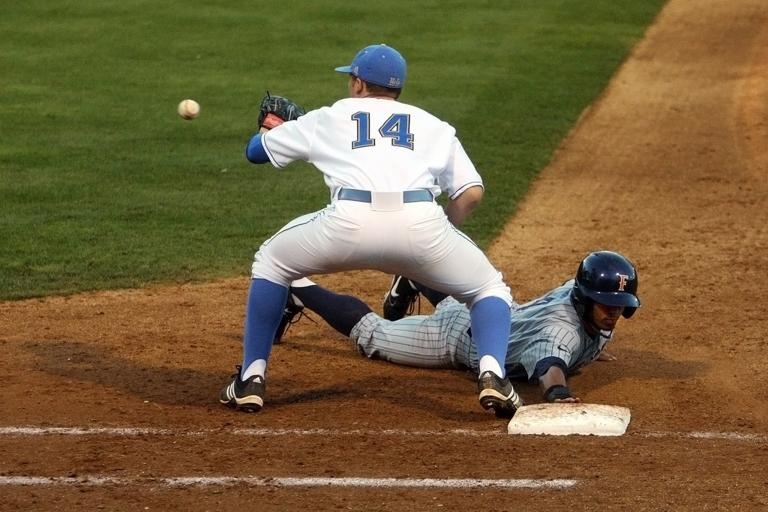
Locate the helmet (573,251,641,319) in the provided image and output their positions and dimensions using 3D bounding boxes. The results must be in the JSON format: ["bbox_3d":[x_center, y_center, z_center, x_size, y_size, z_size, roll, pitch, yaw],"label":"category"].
[{"bbox_3d":[1.672,0.210,8.898,0.427,0.357,0.486,10,23,-21],"label":"helmet"}]

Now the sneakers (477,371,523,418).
[{"bbox_3d":[0.776,0.970,8.380,0.177,0.204,0.473,16,-7,37],"label":"sneakers"}]

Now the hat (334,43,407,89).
[{"bbox_3d":[-0.064,-1.432,8.813,0.416,0.274,0.590,-5,21,-31],"label":"hat"}]

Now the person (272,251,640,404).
[{"bbox_3d":[0.650,0.523,9.172,2.086,0.699,1.328,8,15,22],"label":"person"}]

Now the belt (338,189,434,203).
[{"bbox_3d":[0.009,-0.421,8.423,0.654,0.113,0.150,3,26,-7],"label":"belt"}]

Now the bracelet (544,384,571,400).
[{"bbox_3d":[1.221,0.975,8.595,0.118,0.062,0.137,1,-10,-17],"label":"bracelet"}]

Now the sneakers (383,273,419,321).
[{"bbox_3d":[0.160,0.288,9.814,0.233,0.169,0.478,-14,39,26],"label":"sneakers"}]
